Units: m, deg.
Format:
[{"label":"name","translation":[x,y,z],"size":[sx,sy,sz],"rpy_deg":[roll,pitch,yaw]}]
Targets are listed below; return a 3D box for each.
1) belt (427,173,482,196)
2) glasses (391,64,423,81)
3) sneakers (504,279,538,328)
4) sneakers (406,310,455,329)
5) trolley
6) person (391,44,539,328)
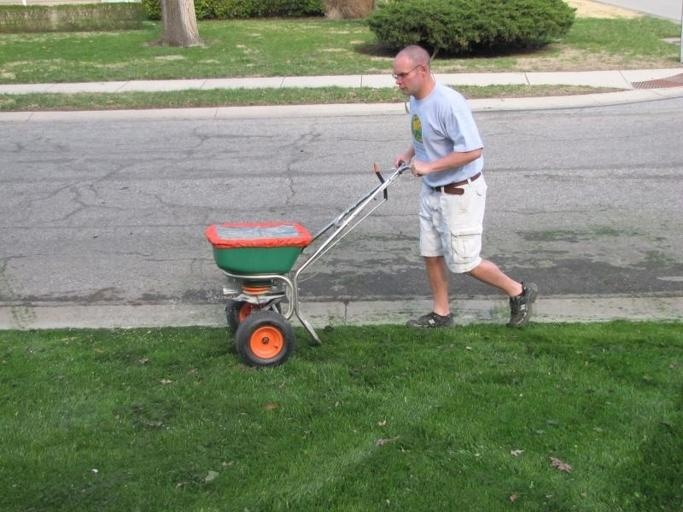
[{"label":"belt","translation":[0.930,-0.599,6.390],"size":[0.417,0.152,0.140],"rpy_deg":[-1,16,7]},{"label":"glasses","translation":[0.491,-1.479,6.139],"size":[0.262,0.114,0.136],"rpy_deg":[6,18,30]},{"label":"sneakers","translation":[1.573,0.449,6.767],"size":[0.235,0.456,0.171],"rpy_deg":[4,15,-3]},{"label":"sneakers","translation":[0.771,0.557,6.767],"size":[0.409,0.142,0.156],"rpy_deg":[0,-2,-6]},{"label":"trolley","translation":[-0.330,0.025,6.529],"size":[1.866,1.539,1.430],"rpy_deg":[-8,12,-42]},{"label":"person","translation":[0.957,-0.547,6.455],"size":[1.094,2.404,0.700],"rpy_deg":[0,17,11]}]
